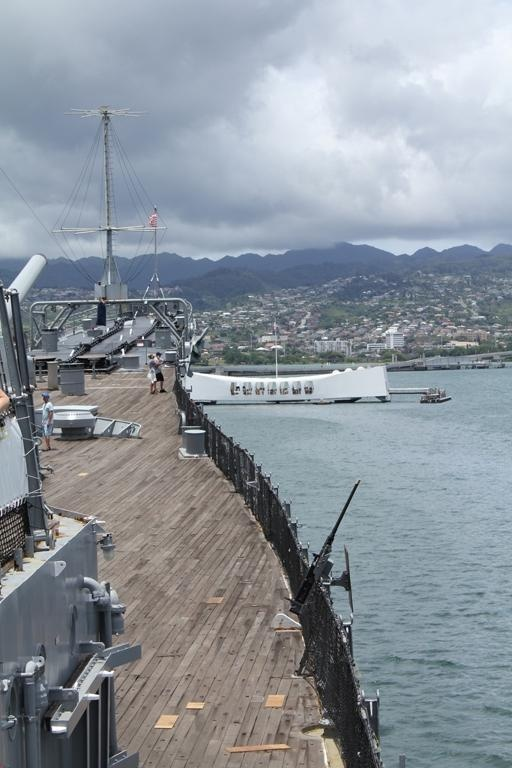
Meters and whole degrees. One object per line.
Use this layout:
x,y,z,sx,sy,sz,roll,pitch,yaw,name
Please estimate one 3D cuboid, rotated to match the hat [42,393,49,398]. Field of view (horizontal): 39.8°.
-6.960,0.343,23.293,0.164,0.169,0.214,20,14,-12,hat
